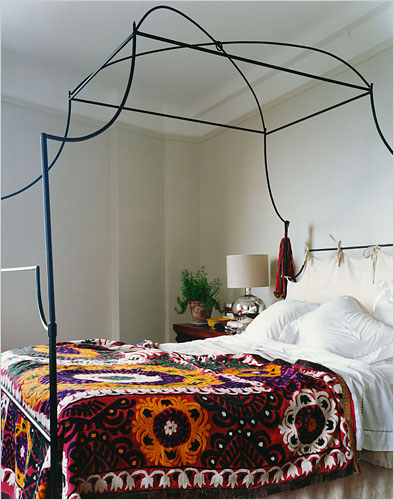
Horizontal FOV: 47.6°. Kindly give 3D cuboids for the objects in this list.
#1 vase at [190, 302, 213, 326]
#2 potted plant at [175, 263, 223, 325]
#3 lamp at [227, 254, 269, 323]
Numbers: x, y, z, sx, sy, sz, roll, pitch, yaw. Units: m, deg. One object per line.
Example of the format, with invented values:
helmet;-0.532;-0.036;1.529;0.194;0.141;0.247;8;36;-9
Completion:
vase;0.031;0.610;4.312;0.173;0.197;0.198;0;-2;-8
potted plant;-0.022;0.438;4.525;0.459;0.688;0.435;2;-6;-29
lamp;0.419;0.316;3.728;0.376;0.813;0.461;-1;-6;10
